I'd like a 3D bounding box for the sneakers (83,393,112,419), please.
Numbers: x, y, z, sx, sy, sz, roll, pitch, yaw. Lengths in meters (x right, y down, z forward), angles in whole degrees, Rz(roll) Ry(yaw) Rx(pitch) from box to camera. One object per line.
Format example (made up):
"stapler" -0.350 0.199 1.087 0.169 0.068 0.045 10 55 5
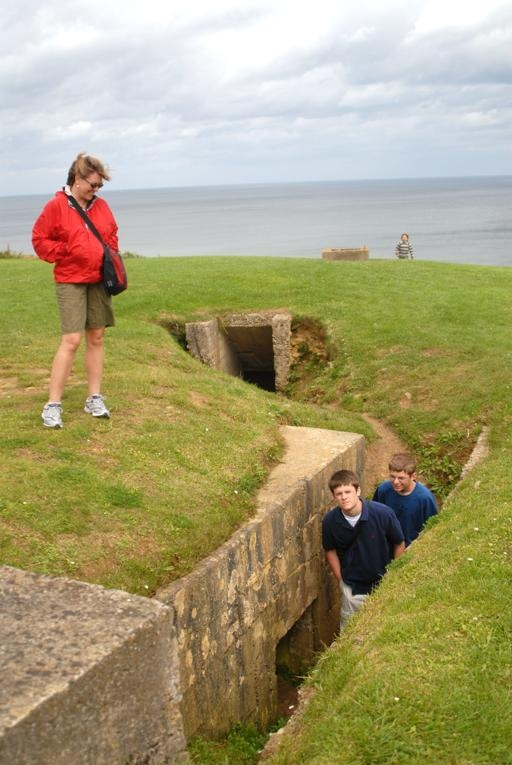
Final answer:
"sneakers" -1.461 0.222 6.342 0.127 0.155 0.308 -8 14 -40

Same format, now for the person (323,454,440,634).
"person" 1.047 1.396 6.133 1.103 1.489 0.668 -10 11 -43

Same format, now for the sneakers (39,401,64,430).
"sneakers" -1.729 0.289 5.884 0.113 0.132 0.290 -1 10 -20

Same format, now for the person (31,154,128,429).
"person" -1.480 -0.734 5.742 0.776 2.241 0.929 -4 8 -9
